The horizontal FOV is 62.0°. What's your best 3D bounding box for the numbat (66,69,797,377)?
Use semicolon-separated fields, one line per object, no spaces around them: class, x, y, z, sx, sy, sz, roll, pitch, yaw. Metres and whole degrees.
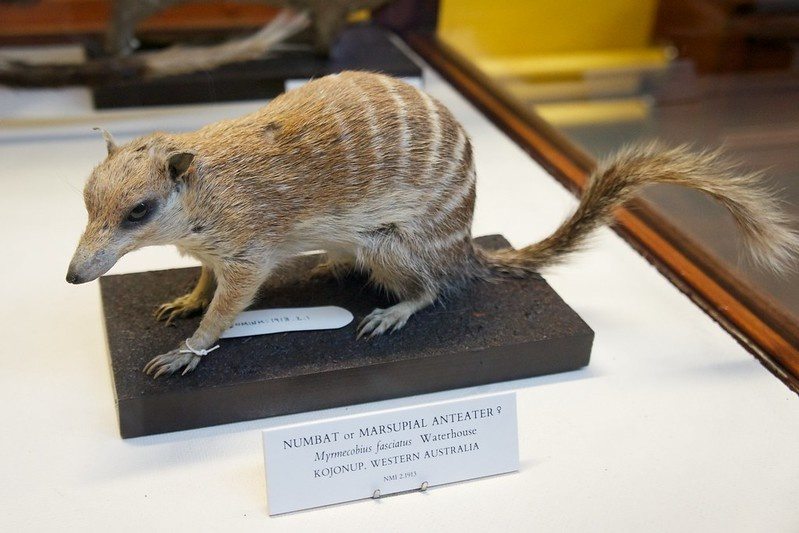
numbat;0.041;-0.193;2.600;1.602;1.172;1.636;1;34;-3
